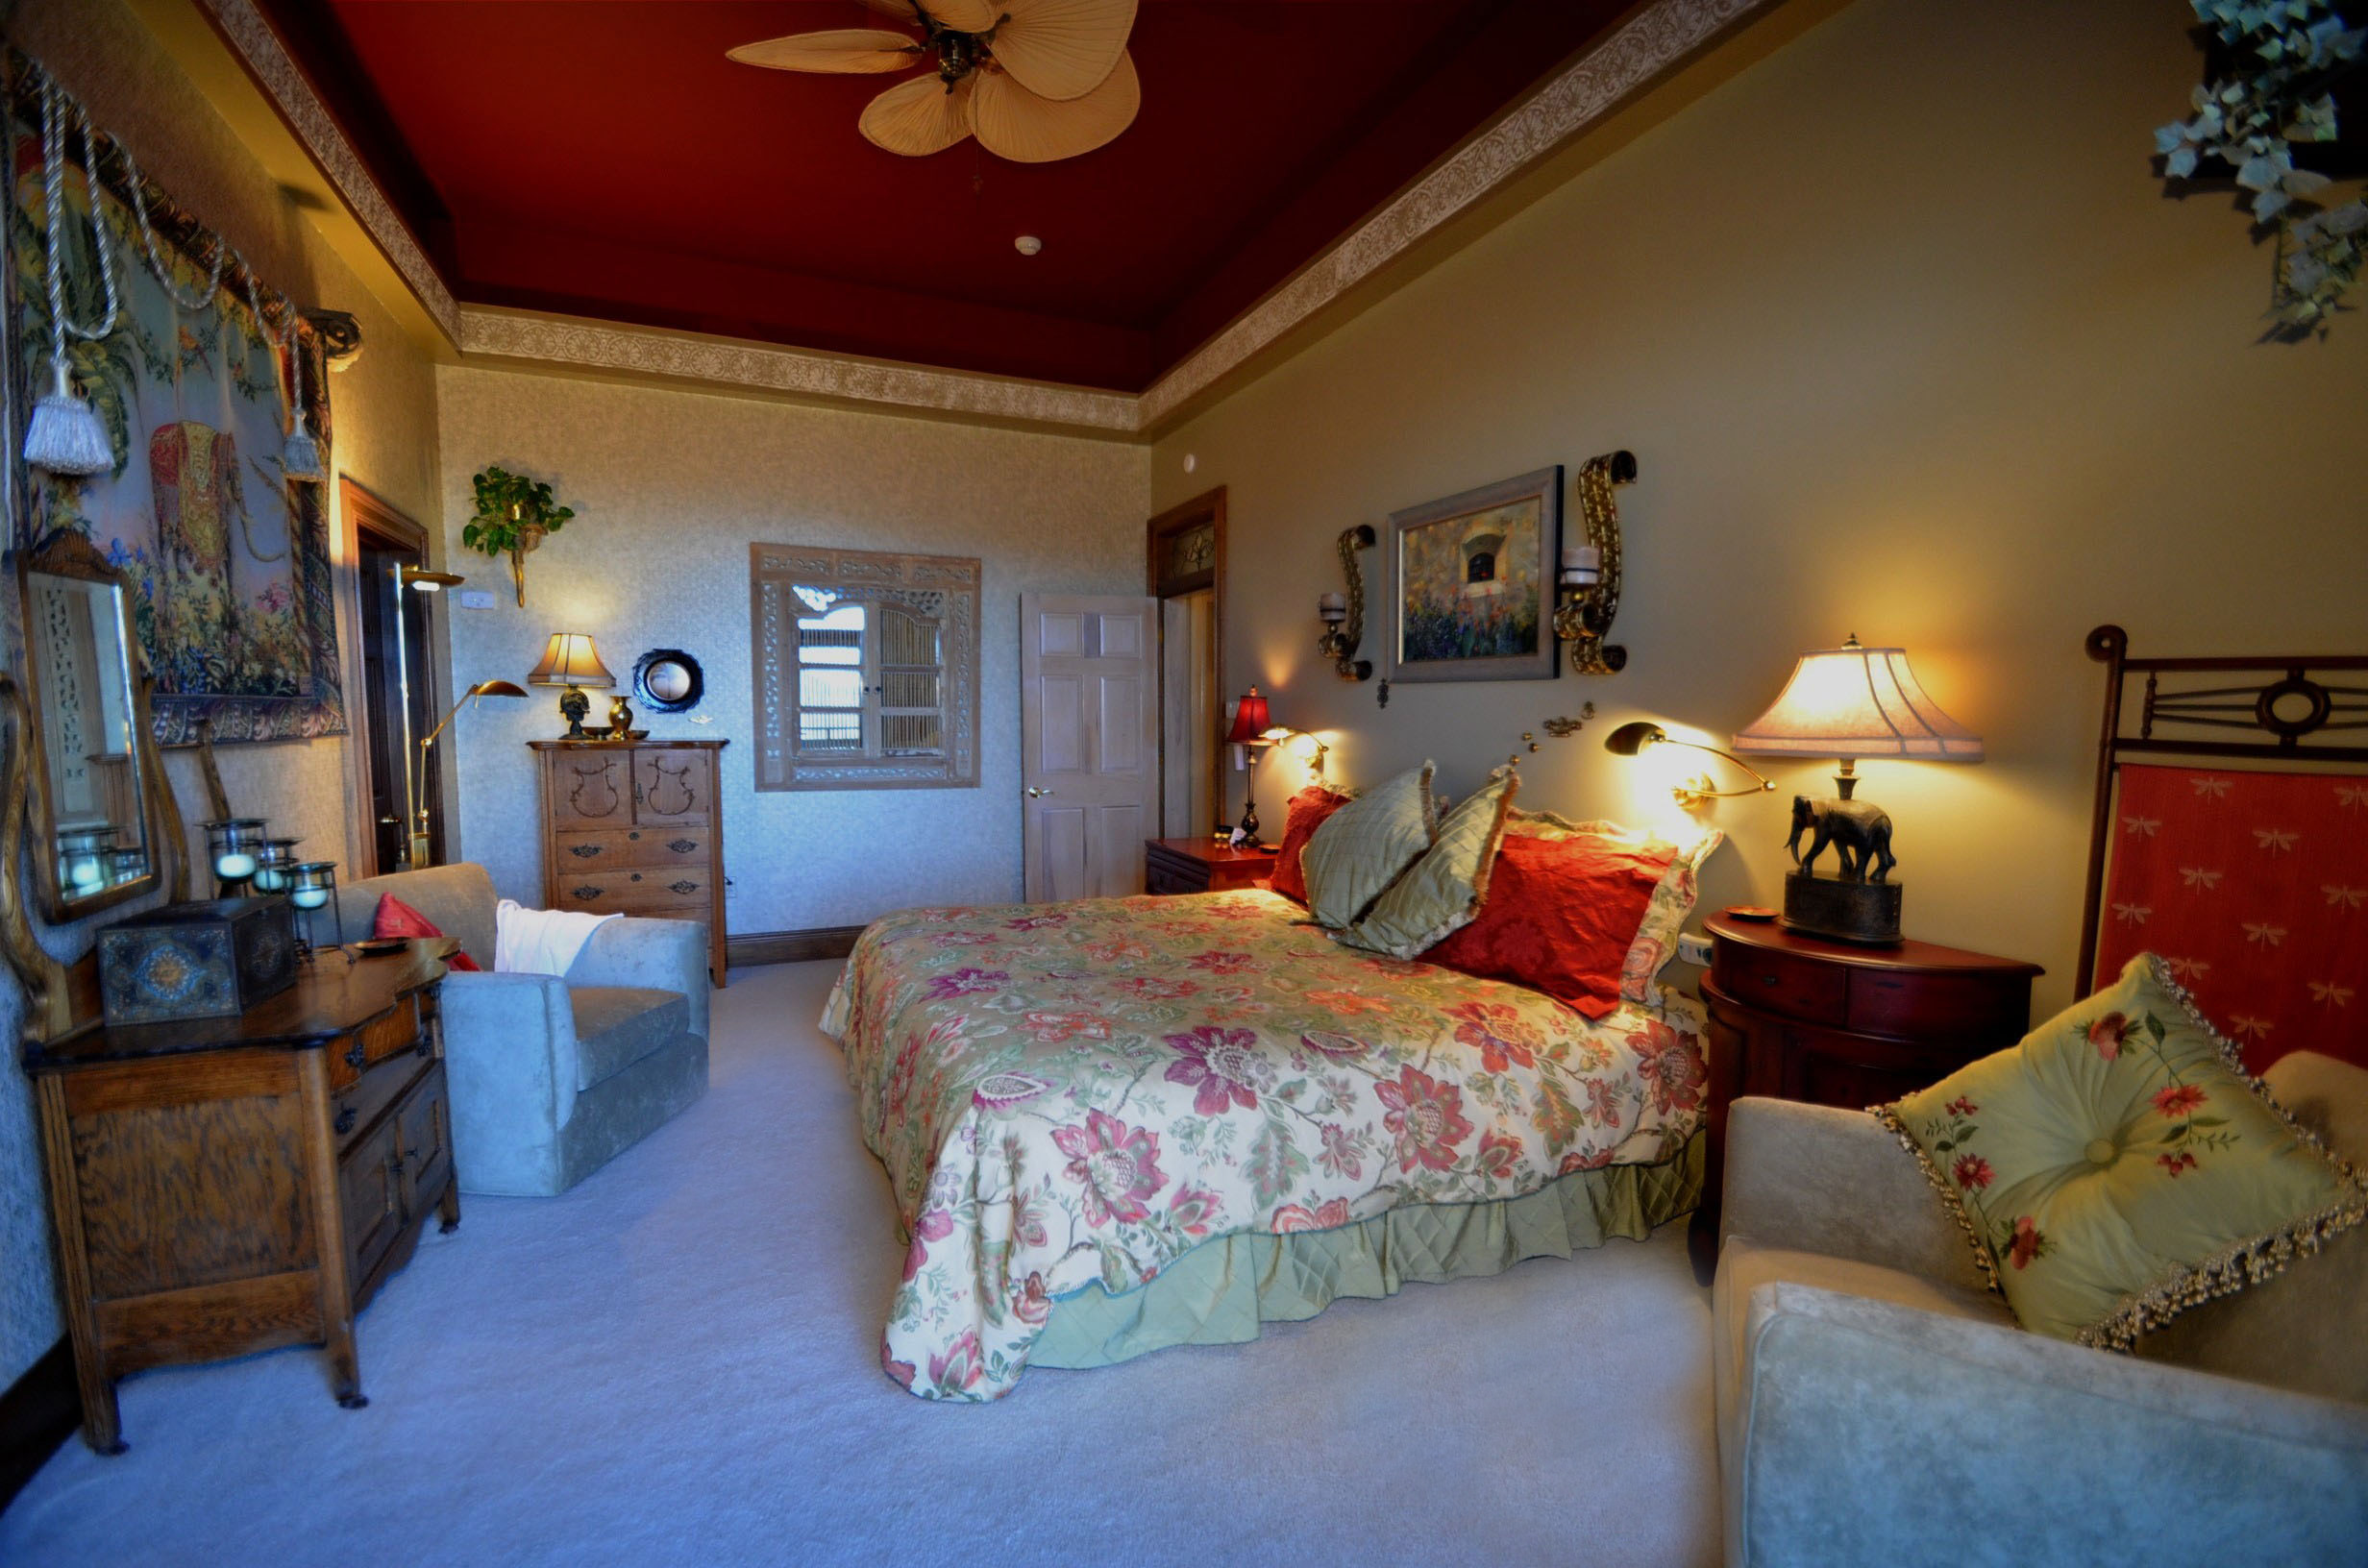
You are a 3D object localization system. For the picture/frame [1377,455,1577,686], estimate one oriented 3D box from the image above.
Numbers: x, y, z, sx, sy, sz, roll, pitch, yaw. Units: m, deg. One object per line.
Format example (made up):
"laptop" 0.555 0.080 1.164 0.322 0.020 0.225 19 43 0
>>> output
"picture/frame" 1.158 -0.824 5.828 0.045 0.781 0.999 1 -1 -26

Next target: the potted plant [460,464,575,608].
"potted plant" -3.119 -1.205 7.376 0.576 0.812 0.579 -1 6 -3

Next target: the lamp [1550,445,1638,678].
"lamp" 1.419 -0.773 5.361 0.194 0.780 0.321 -3 6 -32

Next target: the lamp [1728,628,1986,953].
"lamp" 2.028 0.043 4.881 0.772 1.140 0.937 1 -2 -24

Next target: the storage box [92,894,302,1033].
"storage box" -2.772 0.519 4.244 0.236 0.318 0.467 -2 -1 7

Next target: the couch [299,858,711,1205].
"couch" -2.331 0.872 5.381 0.993 1.158 1.305 -1 4 -10

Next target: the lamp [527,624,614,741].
"lamp" -2.853 -0.490 7.146 0.489 0.621 0.489 -6 10 -38

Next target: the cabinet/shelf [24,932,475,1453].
"cabinet/shelf" -2.787 1.090 4.666 1.012 1.260 1.524 -4 7 -20

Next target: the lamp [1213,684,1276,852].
"lamp" 0.300 -0.104 7.331 0.243 0.724 0.783 0 4 3

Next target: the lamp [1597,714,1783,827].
"lamp" 1.630 -0.060 5.086 0.212 0.305 0.715 -12 11 -25

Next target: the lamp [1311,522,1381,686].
"lamp" 0.669 -0.783 6.614 0.197 0.705 0.428 -2 5 -20

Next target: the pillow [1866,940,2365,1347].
"pillow" 2.245 0.921 3.635 0.255 0.849 0.852 36 22 -33
